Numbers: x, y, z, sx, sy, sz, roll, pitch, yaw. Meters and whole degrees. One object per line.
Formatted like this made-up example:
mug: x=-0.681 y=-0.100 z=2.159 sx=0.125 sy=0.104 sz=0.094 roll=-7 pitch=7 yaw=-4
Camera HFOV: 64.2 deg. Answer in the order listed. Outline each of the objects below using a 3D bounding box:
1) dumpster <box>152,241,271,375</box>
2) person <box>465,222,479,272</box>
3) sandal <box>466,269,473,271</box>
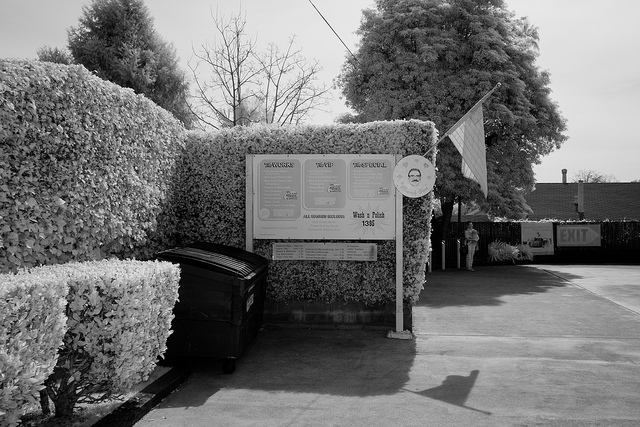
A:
dumpster: x=-1.886 y=1.561 z=9.518 sx=1.444 sy=1.882 sz=2.642 roll=3 pitch=2 yaw=5
person: x=6.639 y=1.485 z=22.508 sx=0.516 sy=2.063 sz=1.125 roll=2 pitch=5 yaw=22
sandal: x=6.428 y=2.440 z=21.960 sx=0.156 sy=0.018 sz=0.460 roll=2 pitch=5 yaw=17
